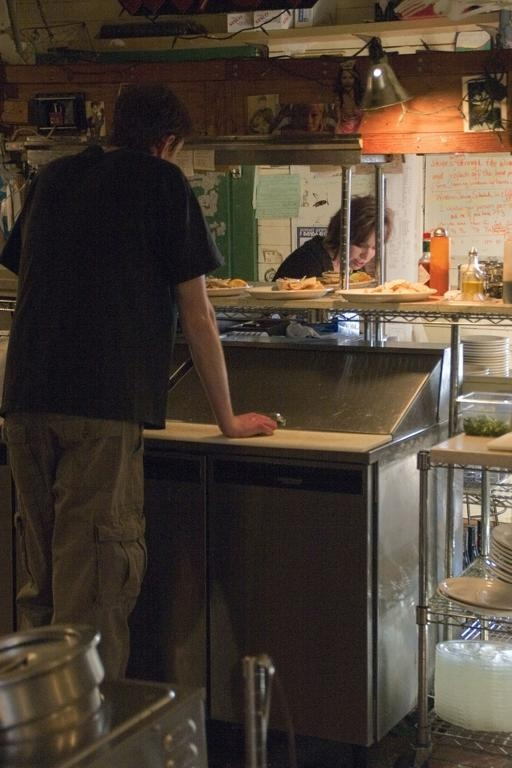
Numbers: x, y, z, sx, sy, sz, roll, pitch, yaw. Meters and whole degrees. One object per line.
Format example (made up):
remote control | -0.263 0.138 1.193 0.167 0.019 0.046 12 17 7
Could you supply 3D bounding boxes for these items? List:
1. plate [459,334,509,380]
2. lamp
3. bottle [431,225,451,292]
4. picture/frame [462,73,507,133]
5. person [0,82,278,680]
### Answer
plate | 1.302 -0.167 4.075 0.273 0.192 0.269 -2 6 -10
lamp | 0.432 -1.080 2.530 0.174 0.253 0.158 -15 8 1
bottle | 0.613 -0.409 2.442 0.063 0.220 0.113 -2 8 14
picture/frame | 0.767 -0.946 2.425 0.193 0.223 0.026 8 19 36
person | -0.380 0.004 1.819 0.616 1.445 0.362 -4 7 -2
